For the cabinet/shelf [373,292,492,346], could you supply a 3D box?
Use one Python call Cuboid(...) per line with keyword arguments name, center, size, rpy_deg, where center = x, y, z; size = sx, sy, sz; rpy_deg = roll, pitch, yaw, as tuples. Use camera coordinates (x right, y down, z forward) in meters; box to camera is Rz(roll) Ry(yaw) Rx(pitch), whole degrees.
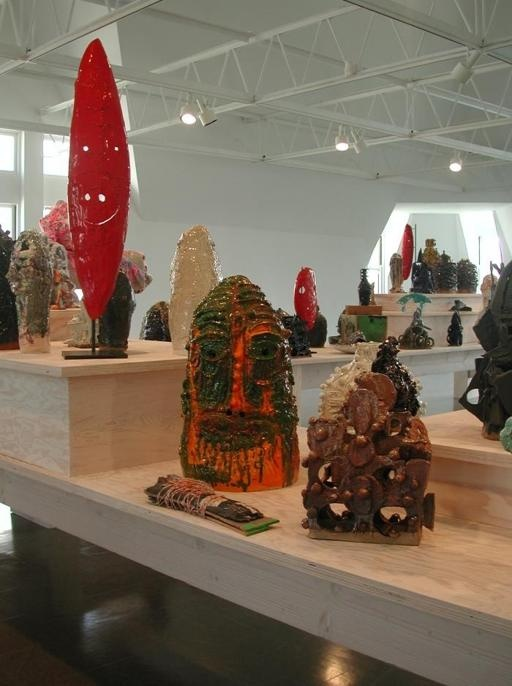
Cuboid(name="cabinet/shelf", center=(1.730, -0.260, 5.323), size=(0.807, 0.574, 1.415), rpy_deg=(-1, -1, 37))
